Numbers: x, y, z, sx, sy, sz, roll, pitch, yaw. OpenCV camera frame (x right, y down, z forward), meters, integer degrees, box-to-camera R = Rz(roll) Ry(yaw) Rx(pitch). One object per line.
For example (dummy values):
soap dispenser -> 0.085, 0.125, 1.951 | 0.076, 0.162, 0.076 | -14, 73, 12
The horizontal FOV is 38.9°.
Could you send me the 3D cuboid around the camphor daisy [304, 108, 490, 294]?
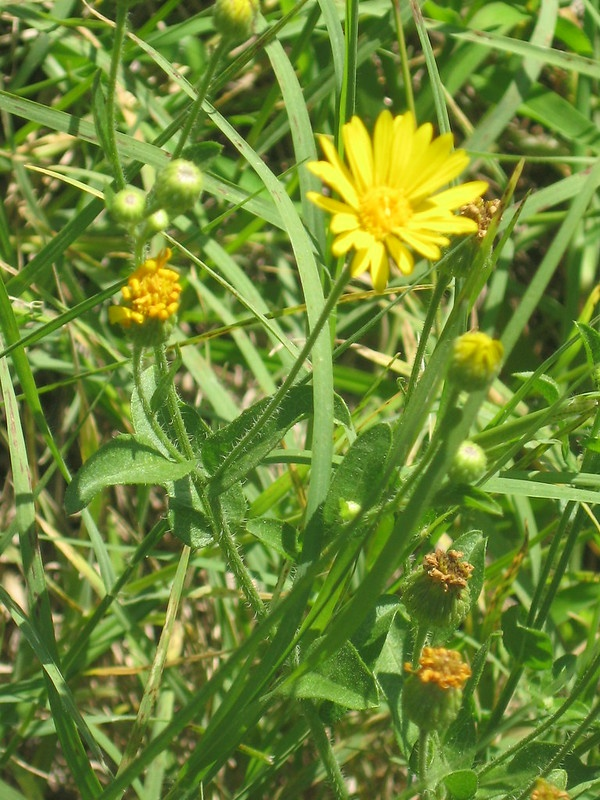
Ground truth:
camphor daisy -> 0.156, -0.347, 1.491 | 0.307, 0.128, 0.295 | 46, 63, -20
